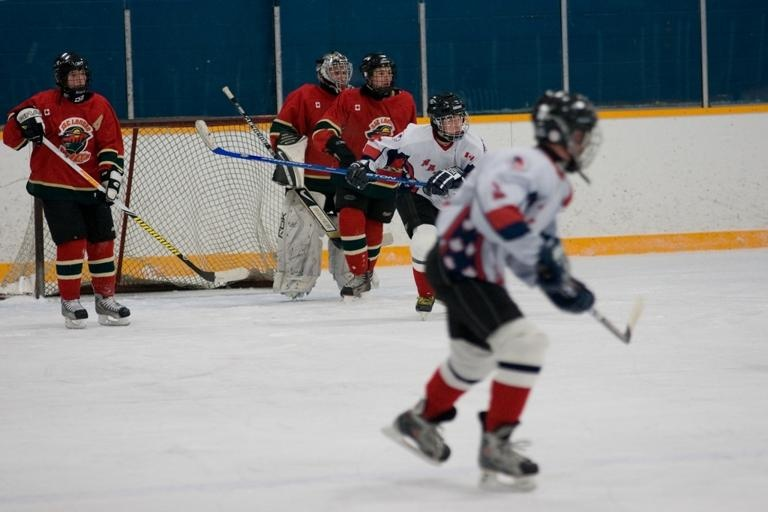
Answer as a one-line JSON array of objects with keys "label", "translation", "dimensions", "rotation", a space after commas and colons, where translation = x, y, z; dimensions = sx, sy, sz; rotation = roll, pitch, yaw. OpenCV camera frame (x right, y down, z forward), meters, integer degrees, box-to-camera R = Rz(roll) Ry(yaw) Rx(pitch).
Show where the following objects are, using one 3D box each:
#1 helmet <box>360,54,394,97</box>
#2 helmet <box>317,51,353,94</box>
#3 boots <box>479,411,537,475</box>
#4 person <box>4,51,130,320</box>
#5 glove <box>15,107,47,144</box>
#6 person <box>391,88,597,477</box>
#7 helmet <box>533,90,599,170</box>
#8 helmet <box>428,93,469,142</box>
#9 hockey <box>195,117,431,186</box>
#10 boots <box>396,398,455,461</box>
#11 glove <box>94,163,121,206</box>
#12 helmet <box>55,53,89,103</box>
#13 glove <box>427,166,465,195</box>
[{"label": "helmet", "translation": [-0.037, -1.183, 6.168], "dimensions": [0.213, 0.226, 0.248], "rotation": [-9, 17, -33]}, {"label": "helmet", "translation": [-0.339, -1.274, 6.612], "dimensions": [0.261, 0.269, 0.302], "rotation": [-6, 13, -22]}, {"label": "boots", "translation": [0.458, 0.715, 3.543], "dimensions": [0.260, 0.211, 0.092], "rotation": [8, -11, 37]}, {"label": "person", "translation": [-1.886, -0.380, 5.761], "dimensions": [0.659, 1.636, 0.441], "rotation": [-5, 13, -14]}, {"label": "glove", "translation": [-2.055, -0.755, 5.597], "dimensions": [0.166, 0.202, 0.083], "rotation": [-12, 0, 1]}, {"label": "person", "translation": [0.399, 0.112, 3.574], "dimensions": [0.825, 1.399, 0.447], "rotation": [-1, 12, 2]}, {"label": "helmet", "translation": [0.670, -0.480, 3.672], "dimensions": [0.304, 0.269, 0.230], "rotation": [13, 1, -10]}, {"label": "helmet", "translation": [0.352, -0.799, 5.453], "dimensions": [0.222, 0.235, 0.268], "rotation": [-16, 25, -30]}, {"label": "hockey", "translation": [-0.496, -0.647, 6.256], "dimensions": [1.557, 0.192, 0.157], "rotation": [12, 4, 11]}, {"label": "boots", "translation": [0.143, 0.662, 3.650], "dimensions": [0.270, 0.189, 0.094], "rotation": [32, 33, 26]}, {"label": "glove", "translation": [-1.634, -0.428, 5.707], "dimensions": [0.158, 0.201, 0.076], "rotation": [2, -8, -8]}, {"label": "helmet", "translation": [-1.876, -1.079, 5.738], "dimensions": [0.211, 0.256, 0.278], "rotation": [-12, 26, -44]}, {"label": "glove", "translation": [0.353, -0.414, 5.415], "dimensions": [0.153, 0.083, 0.195], "rotation": [4, 33, 39]}]
